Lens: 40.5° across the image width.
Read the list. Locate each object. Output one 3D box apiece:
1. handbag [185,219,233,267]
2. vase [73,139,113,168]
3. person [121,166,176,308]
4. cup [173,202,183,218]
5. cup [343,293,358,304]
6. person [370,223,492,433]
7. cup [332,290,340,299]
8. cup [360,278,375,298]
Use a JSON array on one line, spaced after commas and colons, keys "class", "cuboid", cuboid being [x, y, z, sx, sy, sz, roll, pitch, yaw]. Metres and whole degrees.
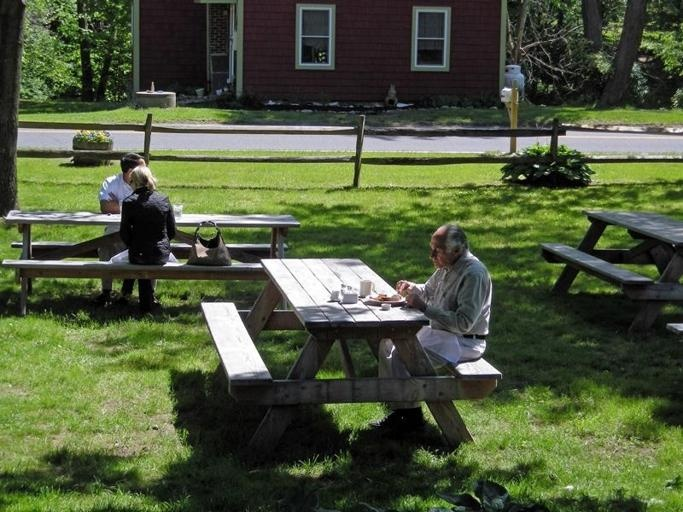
[{"class": "handbag", "cuboid": [-1.462, -0.142, 10.267, 0.522, 0.520, 0.259, -1, 4, 14]}, {"class": "vase", "cuboid": [-4.895, -2.007, 18.096, 0.785, 0.506, 0.750, -1, 8, -13]}, {"class": "person", "cuboid": [-2.161, -0.195, 10.342, 0.596, 1.617, 0.695, -2, 13, -13]}, {"class": "cup", "cuboid": [-1.938, -0.554, 11.013, 0.174, 0.198, 0.175, 0, 2, 0]}, {"class": "cup", "cuboid": [0.070, 0.367, 8.116, 0.145, 0.095, 0.080, 2, 8, 5]}, {"class": "person", "cuboid": [0.853, 0.649, 8.509, 0.999, 1.839, 0.828, 5, 8, 1]}, {"class": "cup", "cuboid": [-0.047, 0.337, 8.185, 0.068, 0.082, 0.061, 3, 5, 3]}, {"class": "cup", "cuboid": [0.226, 0.292, 8.368, 0.154, 0.151, 0.096, -1, 4, -18]}]
